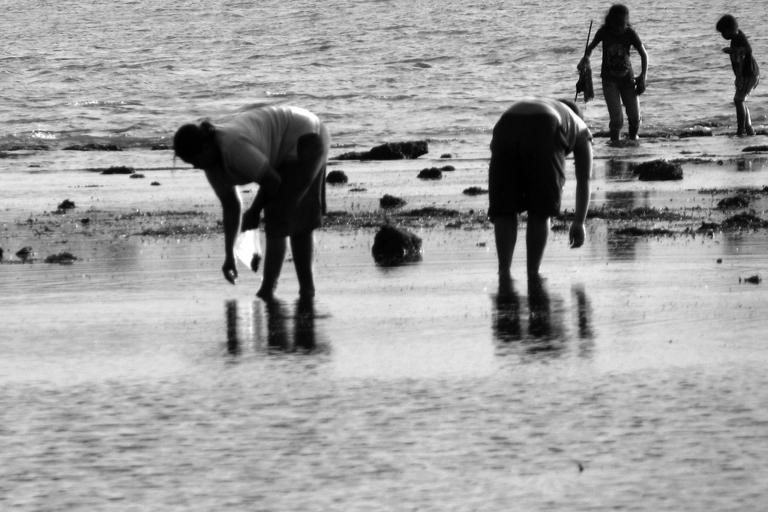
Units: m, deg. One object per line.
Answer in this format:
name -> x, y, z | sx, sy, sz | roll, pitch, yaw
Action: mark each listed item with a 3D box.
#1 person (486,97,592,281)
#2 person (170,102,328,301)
person -> 1.412, -0.629, 12.953 | 0.958, 1.529, 0.690 | -5, 9, -6
person -> -1.014, -0.429, 12.055 | 0.650, 1.596, 1.448 | 1, 10, 30
